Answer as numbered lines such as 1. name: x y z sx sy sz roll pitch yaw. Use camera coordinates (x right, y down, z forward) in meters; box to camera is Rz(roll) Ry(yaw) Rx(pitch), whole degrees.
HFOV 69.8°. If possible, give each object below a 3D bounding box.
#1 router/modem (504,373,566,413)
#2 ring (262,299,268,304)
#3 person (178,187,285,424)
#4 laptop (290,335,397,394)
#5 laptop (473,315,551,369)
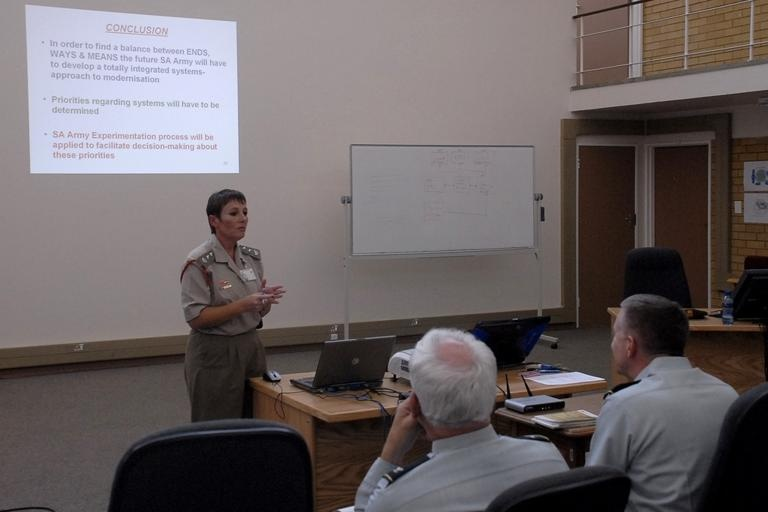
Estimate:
1. router/modem: 0.815 0.773 3.009 0.250 0.149 0.237 -3 -1 -11
2. ring: -0.728 0.278 3.346 0.024 0.025 0.018 0 -14 -5
3. person: -0.936 0.308 3.426 0.592 1.416 0.522 -4 8 -29
4. laptop: -0.229 0.564 3.285 0.410 0.271 0.380 -1 5 -28
5. laptop: 0.821 0.529 3.527 0.442 0.279 0.401 -2 10 -19
